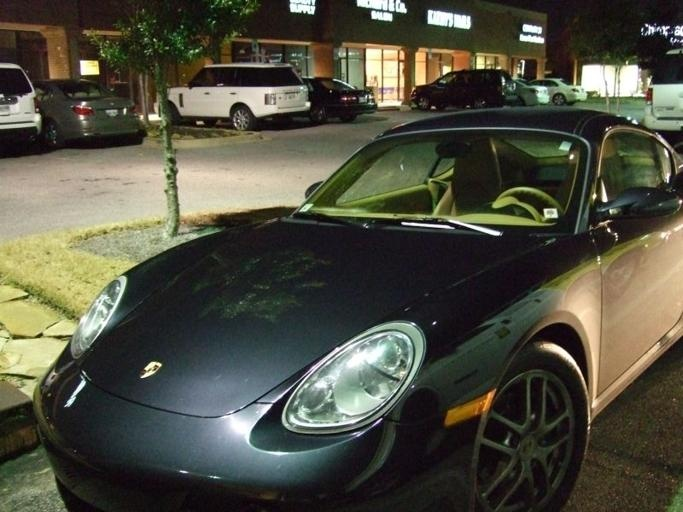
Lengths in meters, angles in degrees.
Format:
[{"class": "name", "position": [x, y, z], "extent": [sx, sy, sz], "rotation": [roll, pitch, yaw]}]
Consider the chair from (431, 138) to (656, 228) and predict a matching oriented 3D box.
[{"class": "chair", "position": [1.282, -0.507, 3.470], "extent": [1.377, 0.663, 0.805], "rotation": [-4, 11, -35]}]

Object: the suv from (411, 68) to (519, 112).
[{"class": "suv", "position": [7.370, -9.906, 31.594], "extent": [4.983, 2.252, 2.621], "rotation": [14, 21, 42]}]
